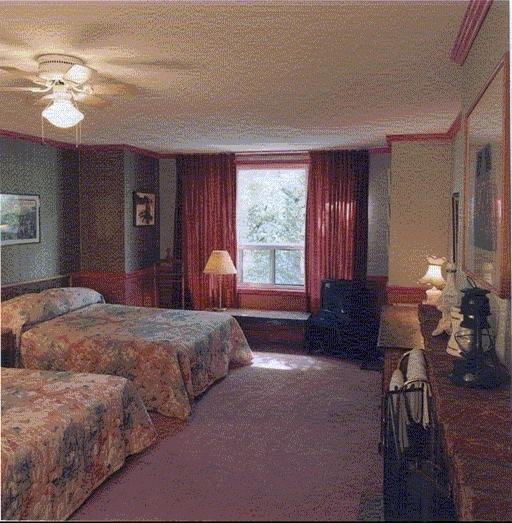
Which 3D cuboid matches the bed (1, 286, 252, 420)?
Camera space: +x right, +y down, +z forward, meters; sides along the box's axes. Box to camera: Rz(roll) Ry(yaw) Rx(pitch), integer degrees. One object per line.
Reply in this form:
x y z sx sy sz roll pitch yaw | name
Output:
-0.955 0.556 2.920 1.063 0.459 0.862 1 2 20 | bed

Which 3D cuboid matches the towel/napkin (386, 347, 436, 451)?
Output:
0.501 0.452 1.500 0.112 0.201 0.425 -2 10 13 | towel/napkin
